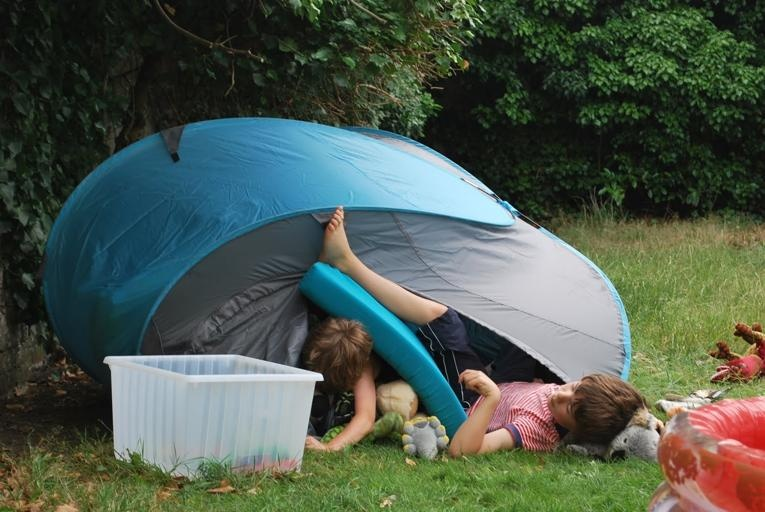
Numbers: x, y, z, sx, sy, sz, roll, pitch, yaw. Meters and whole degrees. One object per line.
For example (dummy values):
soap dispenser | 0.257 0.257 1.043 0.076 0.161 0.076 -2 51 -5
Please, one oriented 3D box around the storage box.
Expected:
storage box | -1.211 1.121 6.258 1.415 0.806 0.595 3 0 -18

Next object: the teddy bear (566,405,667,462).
teddy bear | 1.720 1.328 6.493 0.528 0.244 0.473 3 32 11

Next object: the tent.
tent | -0.605 -0.090 7.072 3.742 1.311 2.612 4 18 -9

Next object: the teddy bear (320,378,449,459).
teddy bear | 0.053 1.232 6.623 0.663 0.239 0.420 -3 11 -9
